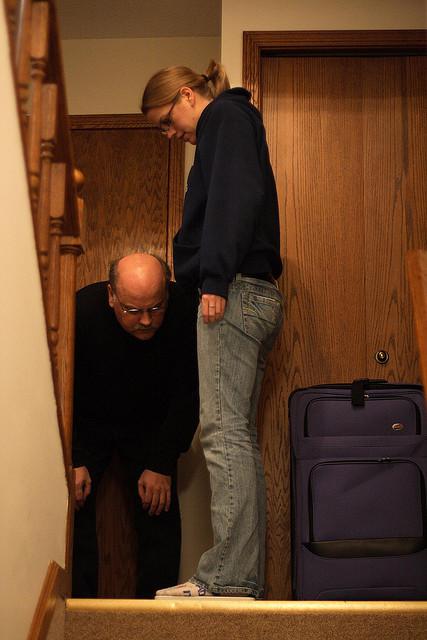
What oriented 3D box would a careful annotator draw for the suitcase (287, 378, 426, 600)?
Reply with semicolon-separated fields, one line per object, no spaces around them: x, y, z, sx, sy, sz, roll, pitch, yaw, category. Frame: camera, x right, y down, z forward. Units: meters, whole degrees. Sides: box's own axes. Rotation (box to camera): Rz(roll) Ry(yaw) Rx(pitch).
0.375;0.464;1.441;0.367;0.557;0.320;6;11;10;suitcase

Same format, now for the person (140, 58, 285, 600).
0.032;-0.010;1.214;0.294;1.081;0.696;3;11;-1;person

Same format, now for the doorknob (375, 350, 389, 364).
0.616;0.137;1.963;0.044;0.046;0.018;3;11;-10;doorknob

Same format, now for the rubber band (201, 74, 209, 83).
-0.022;-0.698;1.544;0.021;0.022;0.027;-1;14;-23;rubber band

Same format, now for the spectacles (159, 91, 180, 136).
-0.128;-0.570;1.504;0.017;0.079;0.065;14;-4;6;spectacles

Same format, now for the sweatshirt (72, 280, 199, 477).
-0.310;0.234;1.924;0.453;0.892;0.384;3;-19;-14;sweatshirt
